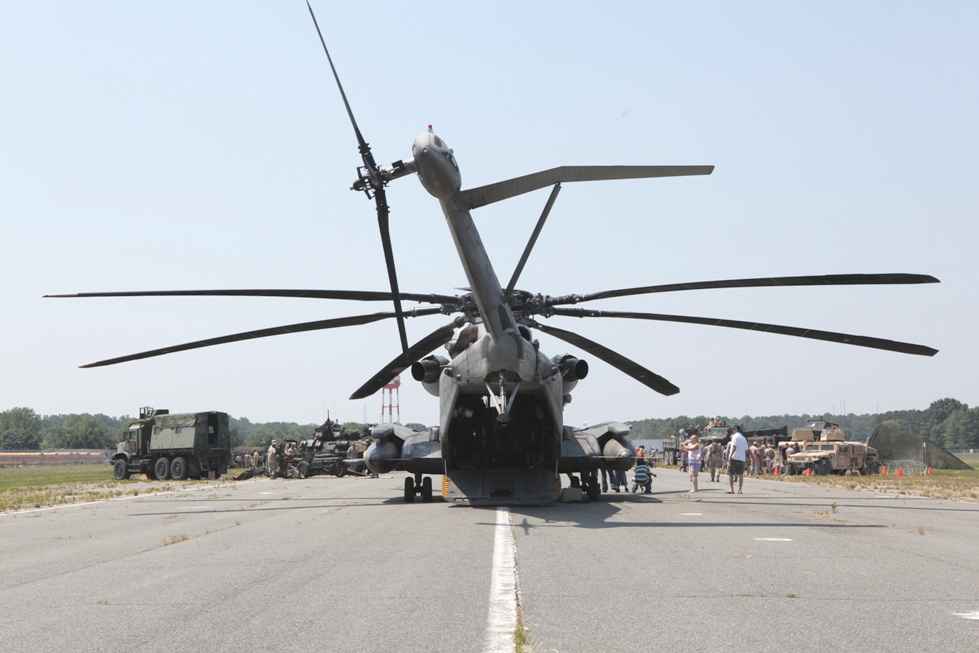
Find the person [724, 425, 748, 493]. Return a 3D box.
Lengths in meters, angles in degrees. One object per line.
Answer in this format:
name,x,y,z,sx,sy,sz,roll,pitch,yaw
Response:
person,7.614,4.109,24.501,0.776,2.134,0.631,12,-13,-31

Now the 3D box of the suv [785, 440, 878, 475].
suv,19.954,7.566,45.079,3.338,1.583,2.608,4,-7,-8

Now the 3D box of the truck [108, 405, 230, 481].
truck,-16.361,6.001,40.135,6.018,3.273,2.734,-6,-10,24

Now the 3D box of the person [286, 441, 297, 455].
person,-12.712,7.745,50.191,0.583,0.578,1.039,1,-4,-5
